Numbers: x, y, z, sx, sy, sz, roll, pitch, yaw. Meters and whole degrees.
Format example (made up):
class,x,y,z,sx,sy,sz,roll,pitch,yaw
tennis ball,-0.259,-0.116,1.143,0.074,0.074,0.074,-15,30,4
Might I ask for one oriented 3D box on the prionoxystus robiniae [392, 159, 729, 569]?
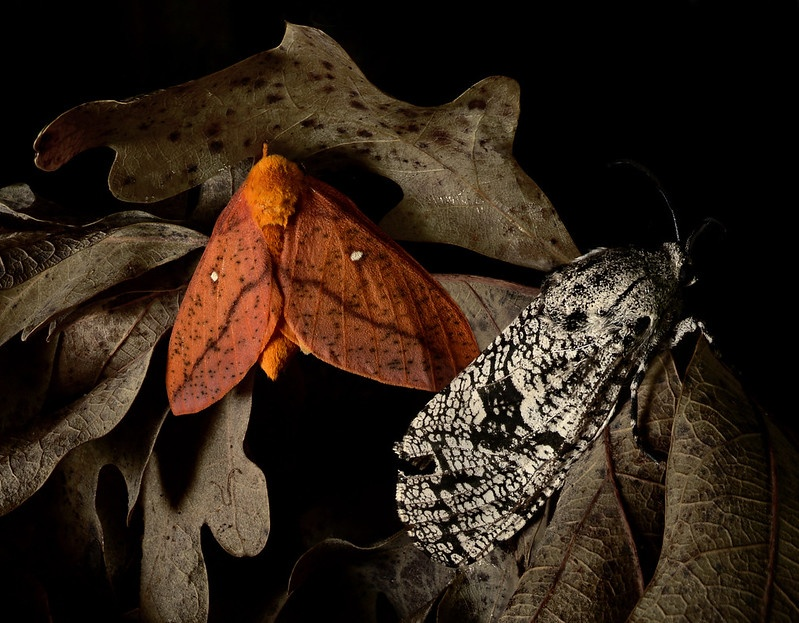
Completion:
class,x,y,z,sx,sy,sz,roll,pitch,yaw
prionoxystus robiniae,0.177,0.065,1.281,0.281,0.560,0.166,21,-35,46

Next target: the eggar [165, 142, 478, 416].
class,x,y,z,sx,sy,sz,roll,pitch,yaw
eggar,-0.101,-0.053,1.359,0.298,0.325,0.522,-2,27,-4
